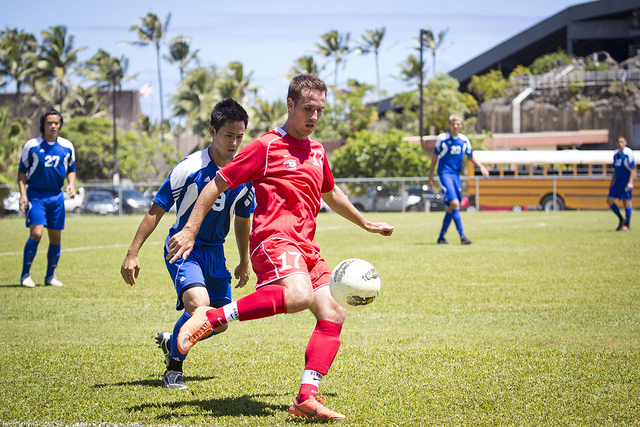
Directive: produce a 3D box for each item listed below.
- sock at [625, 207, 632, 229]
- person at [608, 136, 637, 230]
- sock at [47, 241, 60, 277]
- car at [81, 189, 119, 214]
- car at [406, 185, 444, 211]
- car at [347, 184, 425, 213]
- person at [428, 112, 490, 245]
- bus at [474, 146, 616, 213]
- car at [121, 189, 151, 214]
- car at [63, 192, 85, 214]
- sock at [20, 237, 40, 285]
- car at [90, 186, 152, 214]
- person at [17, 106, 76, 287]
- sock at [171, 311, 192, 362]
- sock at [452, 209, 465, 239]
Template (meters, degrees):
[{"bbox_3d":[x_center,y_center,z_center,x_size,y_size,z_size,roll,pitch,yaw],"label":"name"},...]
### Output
[{"bbox_3d":[7.540,0.143,20.460,0.115,0.590,0.706,2,6,19],"label":"sock"},{"bbox_3d":[7.349,-0.709,20.348,0.591,2.299,1.396,2,6,19],"label":"person"},{"bbox_3d":[-4.832,0.864,15.148,0.226,0.596,0.225,-2,6,-18],"label":"sock"},{"bbox_3d":[-10.203,-0.556,38.839,0.994,0.837,1.651,1,9,-9],"label":"car"},{"bbox_3d":[4.451,-0.608,34.989,1.473,1.118,0.645,1,6,9],"label":"car"},{"bbox_3d":[2.908,-0.561,35.609,2.843,0.967,1.386,-1,0,16],"label":"car"},{"bbox_3d":[3.004,-0.728,18.774,1.075,2.999,1.441,1,6,8],"label":"person"},{"bbox_3d":[8.567,-0.992,32.266,6.147,2.526,1.781,-1,-8,-43],"label":"bus"},{"bbox_3d":[-8.360,-0.491,37.698,1.356,1.035,2.133,0,-1,-40],"label":"car"},{"bbox_3d":[-11.038,-0.415,37.578,0.795,1.075,3.639,-2,6,-16],"label":"car"},{"bbox_3d":[-5.278,0.849,15.135,0.328,0.828,0.473,-2,6,-20],"label":"sock"},{"bbox_3d":[-9.141,-0.516,37.938,2.796,1.020,1.456,0,1,11],"label":"car"},{"bbox_3d":[-4.886,-0.255,14.893,0.997,3.177,0.744,0,6,0],"label":"person"},{"bbox_3d":[-1.828,1.648,10.955,0.250,0.728,0.547,-1,6,-11],"label":"sock"},{"bbox_3d":[3.081,0.250,18.481,0.182,0.688,0.173,-21,11,-22],"label":"sock"}]
